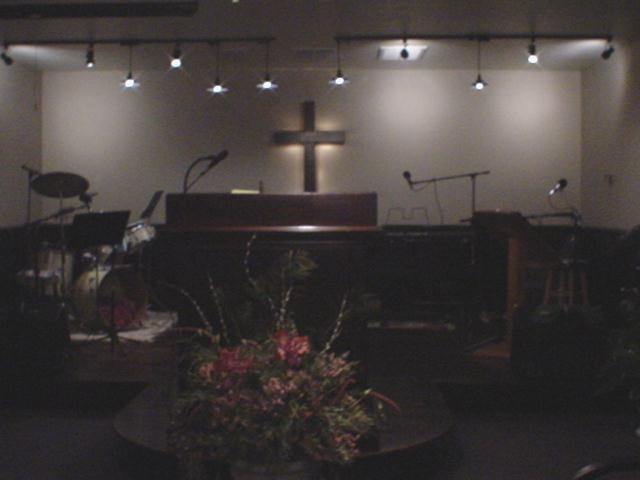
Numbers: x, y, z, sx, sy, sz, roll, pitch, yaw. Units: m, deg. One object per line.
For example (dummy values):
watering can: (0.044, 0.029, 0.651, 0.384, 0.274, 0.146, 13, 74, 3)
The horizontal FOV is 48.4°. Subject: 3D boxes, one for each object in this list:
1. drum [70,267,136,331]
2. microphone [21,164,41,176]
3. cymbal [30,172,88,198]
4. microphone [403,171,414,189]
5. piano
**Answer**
drum: (-1.259, 0.337, 4.235, 0.334, 0.420, 0.436, -15, 9, -38)
microphone: (-1.342, -0.328, 3.335, 0.094, 0.049, 0.040, 3, 1, 7)
cymbal: (-1.210, -0.260, 3.387, 0.247, 0.125, 0.337, 2, 2, -42)
microphone: (0.440, -0.304, 3.533, 0.032, 0.102, 0.042, -12, 27, 13)
piano: (-0.342, 0.077, 3.729, 1.265, 0.507, 0.574, 3, 2, 8)
